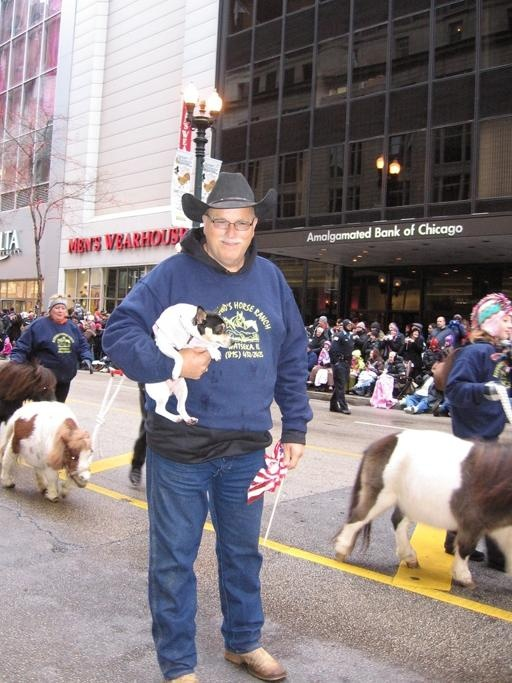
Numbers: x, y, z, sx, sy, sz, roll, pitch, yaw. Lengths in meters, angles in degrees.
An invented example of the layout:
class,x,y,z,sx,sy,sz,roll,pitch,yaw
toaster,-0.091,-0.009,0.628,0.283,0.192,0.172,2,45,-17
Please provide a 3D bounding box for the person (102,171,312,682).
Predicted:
class,x,y,z,sx,sy,sz,roll,pitch,yaw
person,-0.181,0.344,2.352,0.954,2.165,0.360,3,-2,-38

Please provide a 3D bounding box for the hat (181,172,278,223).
class,x,y,z,sx,sy,sz,roll,pitch,yaw
hat,-0.125,-0.646,2.498,0.269,0.105,0.274,0,-9,-4

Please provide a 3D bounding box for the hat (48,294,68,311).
class,x,y,z,sx,sy,sz,roll,pitch,yaw
hat,-2.462,-0.468,6.987,0.227,0.241,0.282,1,6,-9

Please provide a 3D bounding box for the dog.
class,x,y,z,sx,sy,sz,roll,pitch,yaw
dog,-0.254,0.087,2.160,0.320,0.459,0.218,2,-2,-6
